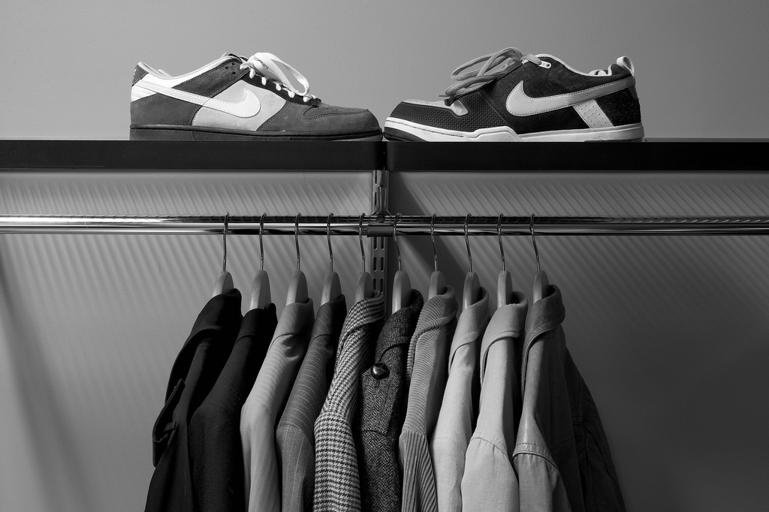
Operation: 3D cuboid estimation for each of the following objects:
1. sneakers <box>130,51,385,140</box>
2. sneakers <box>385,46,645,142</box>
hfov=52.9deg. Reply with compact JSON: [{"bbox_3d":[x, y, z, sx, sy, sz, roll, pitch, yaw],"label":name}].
[{"bbox_3d":[-0.253,-0.268,1.507,0.540,0.224,0.190,0,-1,-1],"label":"sneakers"},{"bbox_3d":[0.258,-0.292,1.546,0.520,0.218,0.188,1,1,2],"label":"sneakers"}]
